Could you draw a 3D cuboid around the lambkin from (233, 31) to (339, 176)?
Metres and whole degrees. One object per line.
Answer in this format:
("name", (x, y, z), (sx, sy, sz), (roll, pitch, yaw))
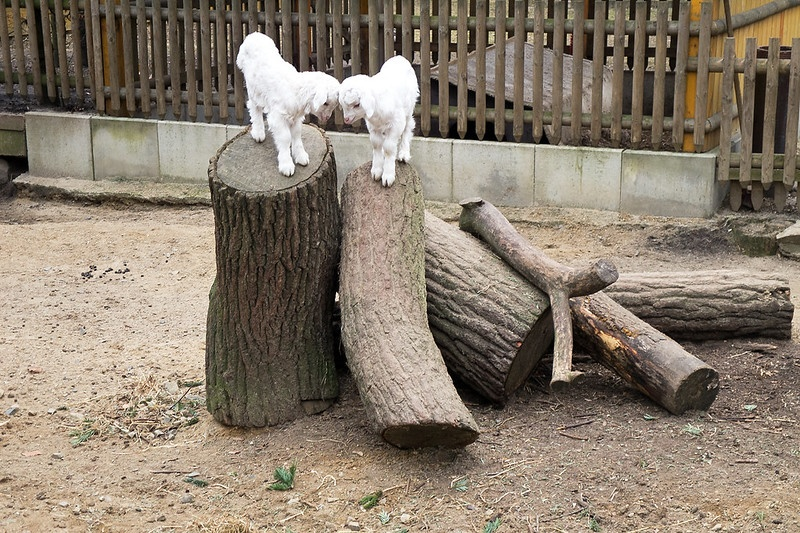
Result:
("lambkin", (-0.953, -1.441, 9.074), (0.678, 1.236, 0.858), (-5, 11, -26))

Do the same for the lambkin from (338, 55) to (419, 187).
("lambkin", (-0.141, -1.273, 9.195), (0.386, 1.032, 1.095), (11, 31, 28))
